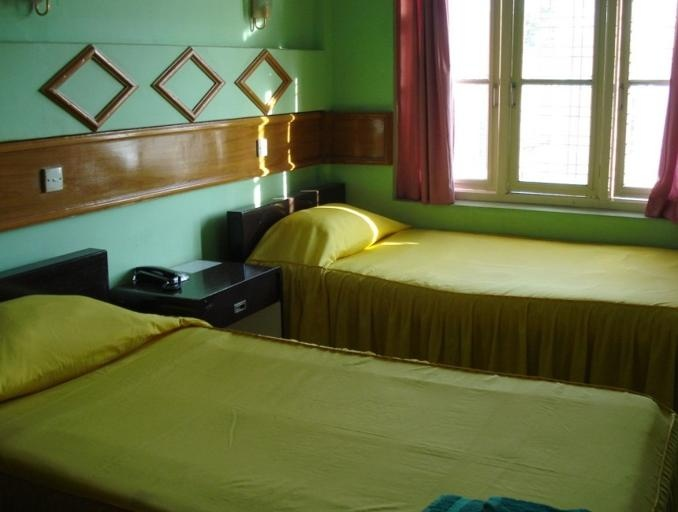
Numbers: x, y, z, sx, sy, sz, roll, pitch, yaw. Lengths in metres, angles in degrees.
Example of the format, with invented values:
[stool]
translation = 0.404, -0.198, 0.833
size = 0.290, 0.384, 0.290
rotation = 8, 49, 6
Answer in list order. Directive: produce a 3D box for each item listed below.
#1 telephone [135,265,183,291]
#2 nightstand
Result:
[telephone]
translation = -1.009, 0.121, 3.006
size = 0.202, 0.074, 0.137
rotation = 6, 12, 15
[nightstand]
translation = -0.765, 0.217, 3.103
size = 0.453, 0.467, 0.689
rotation = 7, 19, 23
